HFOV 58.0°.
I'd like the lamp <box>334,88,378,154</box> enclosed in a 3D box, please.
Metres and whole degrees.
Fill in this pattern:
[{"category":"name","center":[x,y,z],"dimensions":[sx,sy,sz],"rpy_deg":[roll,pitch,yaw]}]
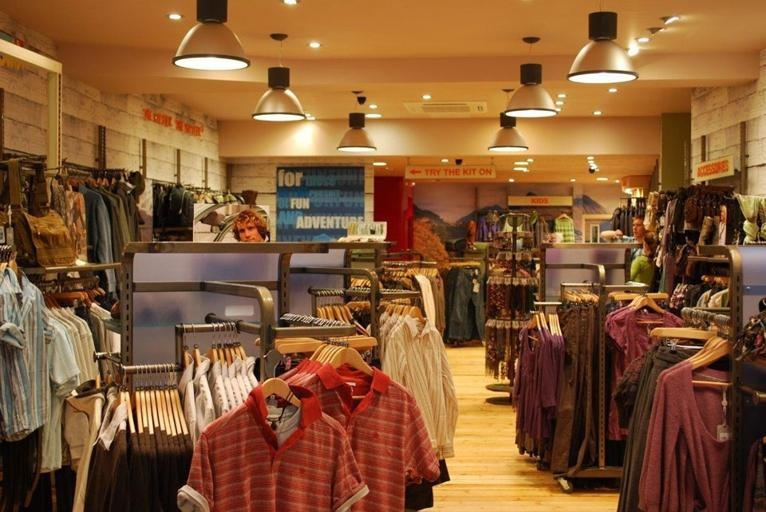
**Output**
[{"category":"lamp","center":[-0.359,-1.884,9.565],"dimensions":[0.514,0.820,0.522],"rpy_deg":[9,7,41]}]

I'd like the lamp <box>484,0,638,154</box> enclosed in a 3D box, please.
[{"category":"lamp","center":[1.791,-1.749,7.198],"dimensions":[0.782,0.914,2.434],"rpy_deg":[3,-12,-11]}]

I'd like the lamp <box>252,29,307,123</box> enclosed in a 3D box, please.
[{"category":"lamp","center":[-1.122,-1.946,7.501],"dimensions":[0.560,0.908,0.602],"rpy_deg":[2,11,2]}]

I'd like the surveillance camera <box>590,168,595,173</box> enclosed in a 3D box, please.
[{"category":"surveillance camera","center":[4.409,-1.815,14.567],"dimensions":[0.106,0.083,0.097],"rpy_deg":[-4,7,-38]}]

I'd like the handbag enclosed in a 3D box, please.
[{"category":"handbag","center":[-2.981,-0.169,6.069],"dimensions":[0.306,0.549,0.555],"rpy_deg":[-6,0,16]}]

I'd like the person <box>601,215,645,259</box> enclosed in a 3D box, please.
[{"category":"person","center":[3.264,-0.272,9.330],"dimensions":[0.592,0.880,0.309],"rpy_deg":[0,9,-2]}]
